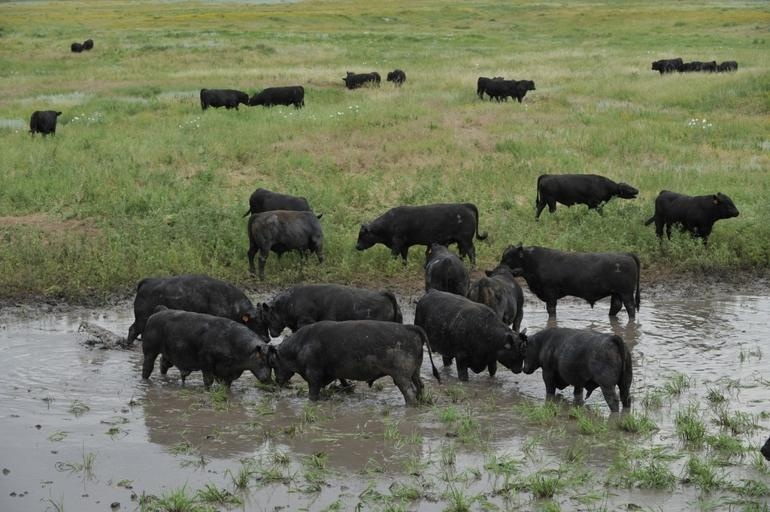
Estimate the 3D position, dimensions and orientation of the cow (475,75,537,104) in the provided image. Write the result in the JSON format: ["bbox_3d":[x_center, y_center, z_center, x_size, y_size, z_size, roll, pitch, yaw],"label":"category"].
[{"bbox_3d":[5.193,-7.197,42.353,2.350,1.002,1.754,1,10,6],"label":"cow"}]

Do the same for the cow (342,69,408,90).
[{"bbox_3d":[-0.651,-8.398,46.764,3.088,0.851,1.913,-6,11,-30],"label":"cow"}]

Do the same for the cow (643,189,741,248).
[{"bbox_3d":[7.995,-0.915,25.660,0.851,1.491,2.860,-2,6,-37],"label":"cow"}]

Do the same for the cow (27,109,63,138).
[{"bbox_3d":[-11.520,-4.427,32.778,0.848,0.820,0.854,-4,10,-20],"label":"cow"}]
